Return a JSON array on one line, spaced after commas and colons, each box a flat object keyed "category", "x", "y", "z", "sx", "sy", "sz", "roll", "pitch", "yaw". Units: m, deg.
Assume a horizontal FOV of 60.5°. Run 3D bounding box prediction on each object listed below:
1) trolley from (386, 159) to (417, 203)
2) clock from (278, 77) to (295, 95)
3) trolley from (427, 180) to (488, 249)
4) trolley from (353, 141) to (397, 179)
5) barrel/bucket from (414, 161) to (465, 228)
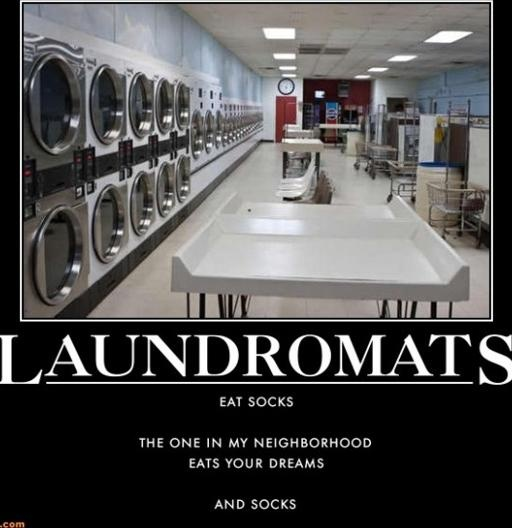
[{"category": "trolley", "x": 3.677, "y": -2.198, "z": 10.960, "sx": 0.542, "sy": 0.786, "sz": 1.035, "roll": -17, "pitch": 6, "yaw": 18}, {"category": "clock", "x": 1.670, "y": -9.933, "z": 24.160, "sx": 0.675, "sy": 0.929, "sz": 0.799, "roll": 0, "pitch": 7, "yaw": 9}, {"category": "trolley", "x": 3.019, "y": -0.888, "z": 6.555, "sx": 0.540, "sy": 0.802, "sz": 1.194, "roll": 1, "pitch": 22, "yaw": 17}, {"category": "trolley", "x": 3.700, "y": -3.367, "z": 13.770, "sx": 1.129, "sy": 0.938, "sz": 3.623, "roll": 1, "pitch": 17, "yaw": 9}, {"category": "barrel/bucket", "x": 3.129, "y": -1.242, "z": 7.568, "sx": 0.828, "sy": 1.236, "sz": 0.941, "roll": 4, "pitch": 10, "yaw": 24}]
